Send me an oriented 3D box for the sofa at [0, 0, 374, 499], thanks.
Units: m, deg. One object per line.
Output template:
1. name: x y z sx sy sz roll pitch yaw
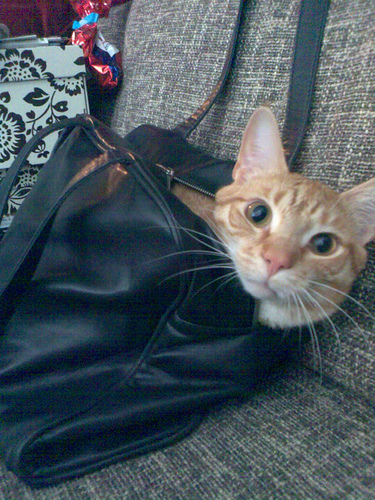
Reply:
1. sofa: 0.160 -0.033 0.740 0.528 0.239 0.678 -15 52 38
